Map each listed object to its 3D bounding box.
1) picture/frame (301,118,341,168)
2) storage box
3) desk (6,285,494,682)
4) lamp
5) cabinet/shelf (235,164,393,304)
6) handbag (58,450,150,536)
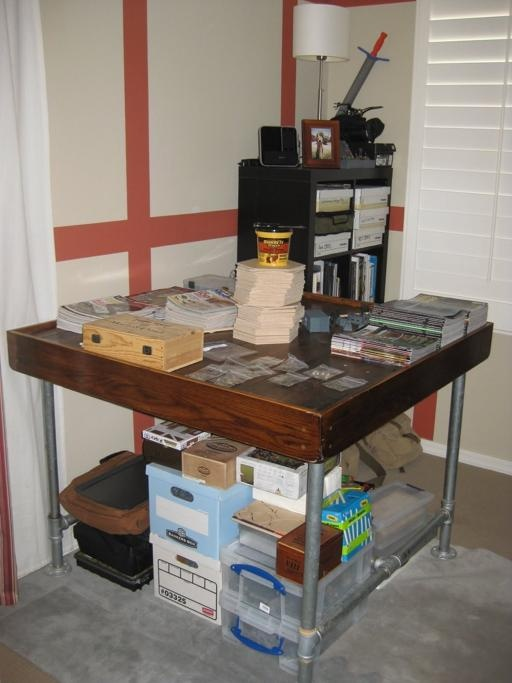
[{"bbox_3d":[0.280,-0.861,2.513,0.234,0.227,0.032,-8,8,-40],"label":"picture/frame"},{"bbox_3d":[0.062,0.656,1.792,0.677,0.408,0.681,10,19,35],"label":"storage box"},{"bbox_3d":[0.038,0.386,1.906,1.053,0.961,1.108,13,20,36],"label":"desk"},{"bbox_3d":[0.310,-1.327,2.784,0.252,0.508,0.514,3,16,8],"label":"lamp"},{"bbox_3d":[0.230,-0.479,2.432,0.241,0.639,0.686,11,19,36],"label":"cabinet/shelf"},{"bbox_3d":[-0.496,0.516,1.967,0.236,0.062,0.237,16,28,24],"label":"handbag"}]
